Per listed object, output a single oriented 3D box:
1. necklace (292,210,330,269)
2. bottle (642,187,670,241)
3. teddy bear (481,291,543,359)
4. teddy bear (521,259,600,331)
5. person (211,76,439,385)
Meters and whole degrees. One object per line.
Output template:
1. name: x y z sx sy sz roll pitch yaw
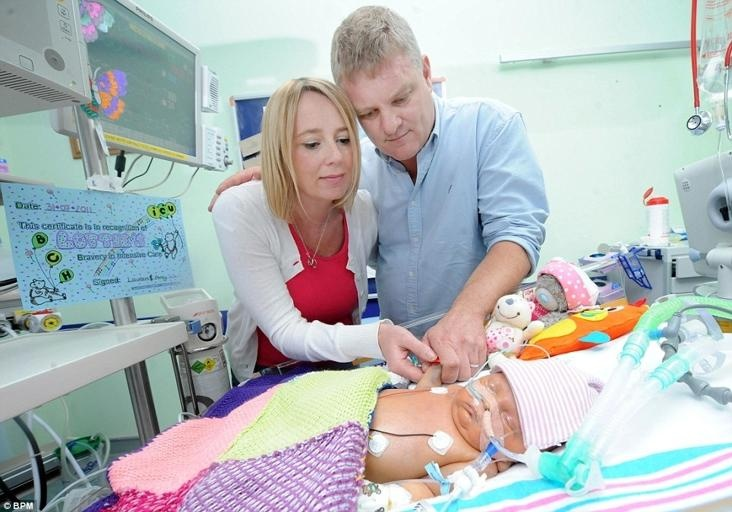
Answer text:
1. necklace: -0.217 -0.067 1.884 0.214 0.279 0.028 -1 -1 5
2. bottle: 1.622 -0.199 2.666 0.105 0.255 0.164 -2 6 29
3. teddy bear: 0.499 0.234 1.655 0.199 0.186 0.139 -7 5 -27
4. teddy bear: 0.769 0.123 1.845 0.212 0.214 0.172 -25 40 0
5. person: -0.209 -0.104 1.697 0.646 1.038 0.602 -6 5 -14
